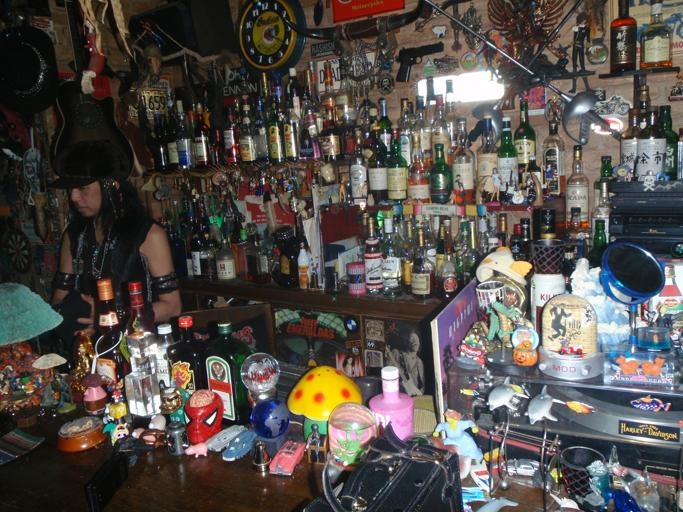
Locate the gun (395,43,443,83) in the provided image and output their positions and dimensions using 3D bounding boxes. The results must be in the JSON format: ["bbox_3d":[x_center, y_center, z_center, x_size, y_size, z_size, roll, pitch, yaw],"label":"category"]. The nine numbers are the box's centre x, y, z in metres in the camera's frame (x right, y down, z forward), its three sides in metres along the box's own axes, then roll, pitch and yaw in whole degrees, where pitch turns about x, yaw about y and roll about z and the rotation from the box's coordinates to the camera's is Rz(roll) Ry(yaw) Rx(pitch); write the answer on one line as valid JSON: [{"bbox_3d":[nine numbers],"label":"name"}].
[{"bbox_3d":[0.465,-1.138,3.489,0.277,0.228,0.065,1,17,16],"label":"gun"}]

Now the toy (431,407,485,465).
[{"bbox_3d":[0.372,0.593,1.949,0.145,0.201,0.092,-4,15,15],"label":"toy"}]

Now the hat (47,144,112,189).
[{"bbox_3d":[-1.128,-0.387,2.584,0.216,0.162,0.311,13,25,25],"label":"hat"}]

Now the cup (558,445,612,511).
[{"bbox_3d":[0.756,0.692,1.893,0.150,0.131,0.134,-8,13,-31],"label":"cup"}]

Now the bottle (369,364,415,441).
[{"bbox_3d":[0.173,0.519,2.027,0.146,0.260,0.150,-4,10,1],"label":"bottle"}]

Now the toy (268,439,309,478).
[{"bbox_3d":[-0.179,0.679,1.998,0.081,0.042,0.148,0,16,22],"label":"toy"}]

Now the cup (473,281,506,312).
[{"bbox_3d":[0.554,0.139,2.222,0.105,0.104,0.106,-16,19,6],"label":"cup"}]
